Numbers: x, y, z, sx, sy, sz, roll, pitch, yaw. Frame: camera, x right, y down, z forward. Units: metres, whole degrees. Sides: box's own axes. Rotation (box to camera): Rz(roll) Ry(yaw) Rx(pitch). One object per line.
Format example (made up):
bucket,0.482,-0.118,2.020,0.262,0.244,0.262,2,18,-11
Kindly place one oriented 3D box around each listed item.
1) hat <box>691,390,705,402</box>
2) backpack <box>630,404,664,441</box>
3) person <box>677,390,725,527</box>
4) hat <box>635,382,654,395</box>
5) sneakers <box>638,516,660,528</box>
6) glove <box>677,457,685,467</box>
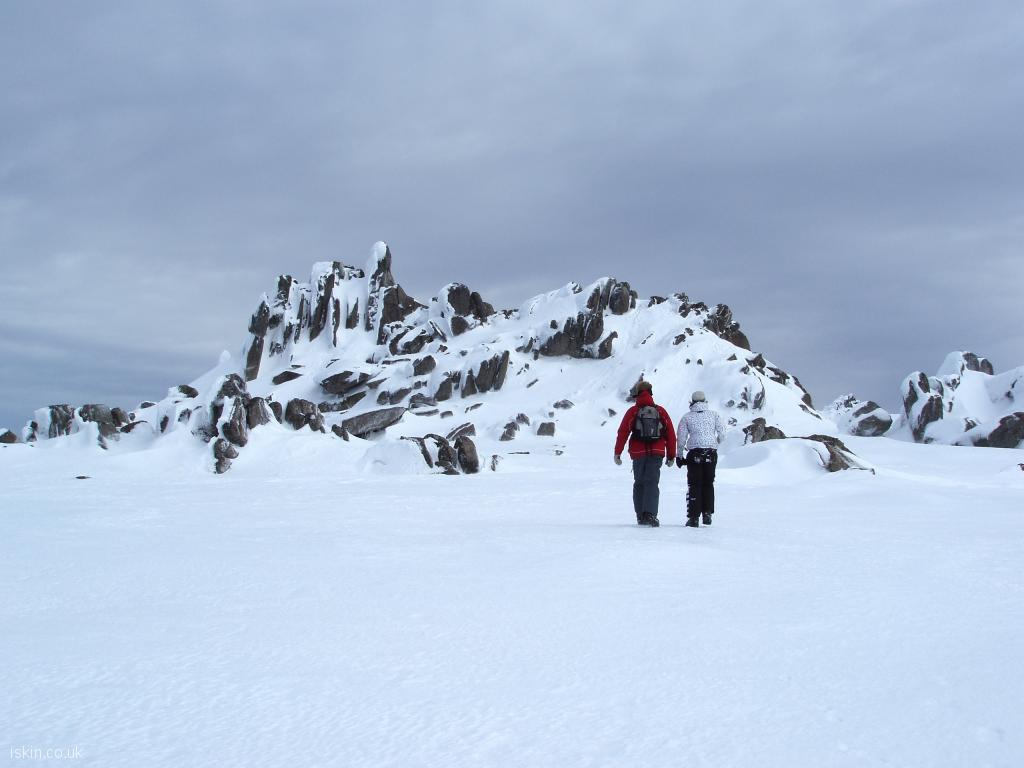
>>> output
hat,2.048,0.151,12.356,0.104,0.132,0.132,9,19,-1
backpack,1.441,0.403,11.881,0.396,0.565,0.299,2,0,9
person,2.045,0.778,12.301,0.493,1.465,2.190,1,-2,10
hat,1.420,0.054,12.181,0.123,0.155,0.165,3,6,-6
sneakers,1.402,1.452,11.557,0.245,0.110,0.083,-2,-1,8
glove,1.825,0.866,12.173,0.103,0.116,0.027,-6,23,-1
